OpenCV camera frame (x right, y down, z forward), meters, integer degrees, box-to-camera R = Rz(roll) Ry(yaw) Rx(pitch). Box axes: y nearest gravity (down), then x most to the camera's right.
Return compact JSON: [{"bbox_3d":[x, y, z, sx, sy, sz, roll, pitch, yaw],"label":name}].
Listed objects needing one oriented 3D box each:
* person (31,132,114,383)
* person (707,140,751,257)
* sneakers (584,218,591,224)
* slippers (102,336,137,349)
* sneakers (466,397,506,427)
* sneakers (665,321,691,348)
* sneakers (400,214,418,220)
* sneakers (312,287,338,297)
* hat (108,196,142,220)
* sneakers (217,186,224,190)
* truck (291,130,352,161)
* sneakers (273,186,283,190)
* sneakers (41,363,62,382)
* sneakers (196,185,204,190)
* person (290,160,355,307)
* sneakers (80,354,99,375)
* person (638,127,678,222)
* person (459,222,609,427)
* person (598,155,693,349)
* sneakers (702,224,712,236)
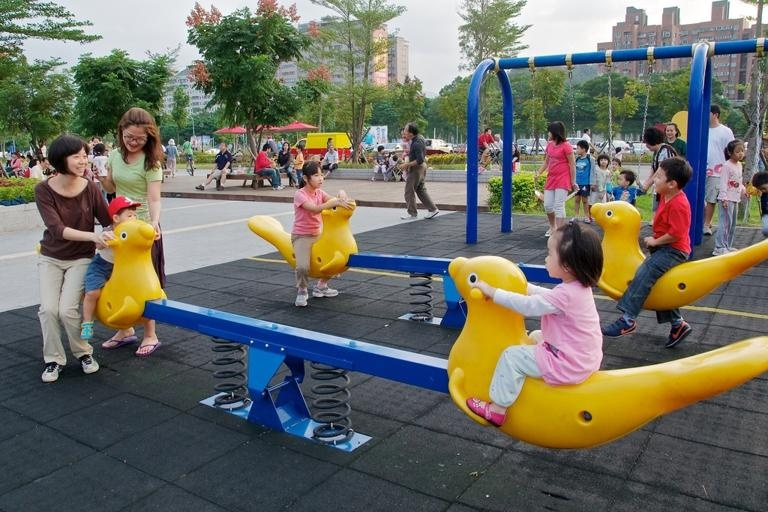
[{"bbox_3d":[-2.738,-0.011,4.680,0.723,2.012,0.671,-9,16,-24],"label":"person"},{"bbox_3d":[4.861,-0.815,7.570,0.313,1.565,1.135,7,17,31],"label":"person"},{"bbox_3d":[3.773,-0.652,9.942,0.077,0.083,0.212,-3,-2,7],"label":"sneakers"},{"bbox_3d":[-2.579,0.829,5.242,0.124,0.052,0.219,-1,0,38],"label":"slippers"},{"bbox_3d":[0.608,0.911,3.262,0.267,0.106,0.103,26,-3,11],"label":"sneakers"},{"bbox_3d":[2.719,0.721,4.979,0.120,0.255,0.091,46,51,13],"label":"sneakers"},{"bbox_3d":[0.524,-0.847,11.769,0.399,0.160,0.140,5,17,24],"label":"sneakers"},{"bbox_3d":[-0.719,0.435,6.548,0.315,0.127,0.126,-1,2,-7],"label":"sneakers"},{"bbox_3d":[-2.322,-0.430,4.761,0.252,0.128,0.165,-18,10,0],"label":"hat"},{"bbox_3d":[-5.616,-2.304,18.418,0.149,0.112,0.272,-1,3,-6],"label":"sneakers"},{"bbox_3d":[-4.367,-6.746,31.693,4.183,1.882,2.361,3,8,13],"label":"truck"},{"bbox_3d":[-3.700,-2.343,18.725,0.408,0.153,0.139,-2,15,22],"label":"sneakers"},{"bbox_3d":[-2.853,0.963,4.607,0.161,0.148,0.222,-10,16,-30],"label":"sneakers"},{"bbox_3d":[-6.236,-2.314,18.320,0.155,0.176,0.410,23,3,-38],"label":"sneakers"},{"bbox_3d":[-0.763,-0.278,6.196,0.644,1.595,0.512,-5,15,-9],"label":"person"},{"bbox_3d":[-2.578,0.936,4.706,0.093,0.095,0.253,-15,12,-42],"label":"sneakers"},{"bbox_3d":[4.145,-1.170,8.130,0.651,1.400,0.493,-8,8,8],"label":"person"},{"bbox_3d":[0.901,0.396,3.178,0.734,1.174,0.336,-1,15,5],"label":"person"},{"bbox_3d":[2.473,-0.028,4.910,0.873,1.666,0.404,-12,17,-33],"label":"person"},{"bbox_3d":[5.390,-0.429,9.028,0.123,0.117,0.322,-1,5,20],"label":"sneakers"}]
